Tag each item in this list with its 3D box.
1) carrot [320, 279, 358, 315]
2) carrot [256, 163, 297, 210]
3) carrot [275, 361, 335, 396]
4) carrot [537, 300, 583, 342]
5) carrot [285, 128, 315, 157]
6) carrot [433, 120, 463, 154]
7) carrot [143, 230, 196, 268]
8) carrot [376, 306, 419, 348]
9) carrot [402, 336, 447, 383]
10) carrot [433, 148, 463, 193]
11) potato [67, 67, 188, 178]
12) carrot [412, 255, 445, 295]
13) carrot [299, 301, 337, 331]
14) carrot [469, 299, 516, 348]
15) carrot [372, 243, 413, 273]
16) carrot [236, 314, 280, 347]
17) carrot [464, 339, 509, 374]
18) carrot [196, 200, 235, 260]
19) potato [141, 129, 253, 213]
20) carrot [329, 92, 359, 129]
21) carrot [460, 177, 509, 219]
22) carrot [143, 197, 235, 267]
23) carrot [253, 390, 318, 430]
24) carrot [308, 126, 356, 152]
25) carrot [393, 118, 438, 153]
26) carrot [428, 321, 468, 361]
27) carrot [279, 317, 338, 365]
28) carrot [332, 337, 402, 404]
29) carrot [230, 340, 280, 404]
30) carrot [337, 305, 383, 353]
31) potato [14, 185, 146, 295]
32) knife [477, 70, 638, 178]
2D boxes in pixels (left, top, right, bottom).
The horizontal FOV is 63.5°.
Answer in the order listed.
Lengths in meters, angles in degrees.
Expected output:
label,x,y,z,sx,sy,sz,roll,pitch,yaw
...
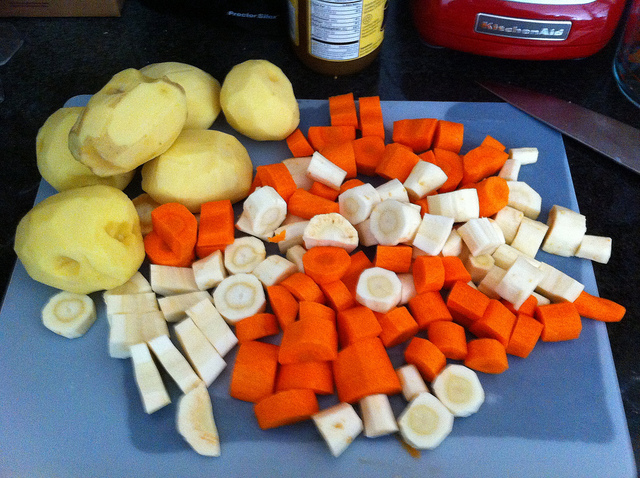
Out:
label,x,y,z,sx,sy,sz,roll,pitch,yaw
carrot,0.047,0.160,1.392,0.082,0.030,0.084,6,80,23
carrot,-0.127,-0.146,1.490,0.066,0.087,0.123,-27,74,-19
carrot,-0.035,0.346,1.292,0.150,0.111,0.086,-6,75,5
carrot,0.631,0.216,1.358,0.092,0.103,0.099,-9,34,1
carrot,-0.065,-0.293,1.667,0.065,0.083,0.117,-31,92,-4
carrot,0.426,-0.333,1.651,0.086,0.120,0.119,7,104,25
carrot,-0.434,0.036,1.494,0.108,0.068,0.111,1,54,-5
carrot,0.200,0.232,1.351,0.092,0.086,0.048,-13,53,-17
carrot,0.269,0.311,1.315,0.090,0.087,0.047,37,65,12
carrot,0.425,-0.233,1.632,0.039,0.203,0.115,-8,73,22
potato,-0.501,-0.323,1.446,0.314,0.187,0.235,-39,114,-3
carrot,0.290,0.097,1.383,0.039,0.076,0.076,-4,58,-20
carrot,-0.011,0.188,1.351,0.122,0.111,0.070,12,87,0
carrot,0.457,0.219,1.392,0.112,0.110,0.112,22,69,34
carrot,0.203,0.052,1.468,0.123,0.087,0.069,2,30,-2
carrot,-0.173,0.255,1.399,0.118,0.119,0.067,-17,66,-8
carrot,0.419,0.296,1.344,0.123,0.066,0.091,7,86,-20
carrot,-0.297,-0.030,1.503,0.117,0.105,0.170,-7,45,-4
potato,-0.361,-0.178,1.561,0.277,0.168,0.225,-20,64,-20
carrot,0.074,-0.400,1.656,0.098,0.030,0.099,-9,84,0
carrot,0.470,-0.110,1.471,0.095,0.088,0.053,-13,32,-15
carrot,-0.369,-0.014,1.463,0.265,0.151,0.142,-17,66,-7
carrot,-0.084,0.412,1.265,0.152,0.048,0.071,-11,66,-4
carrot,0.036,-0.315,1.624,0.131,0.032,0.082,-5,77,8
carrot,0.290,-0.328,1.604,0.151,0.113,0.087,0,51,3
carrot,0.327,0.247,1.369,0.081,0.083,0.063,3,90,-9
carrot,-0.023,0.261,1.315,0.155,0.101,0.083,-3,41,10
carrot,0.116,0.336,1.372,0.154,0.160,0.157,-27,59,1
carrot,-0.165,0.354,1.376,0.122,0.166,0.172,9,32,4
carrot,0.094,0.230,1.355,0.084,0.088,0.070,3,66,-25
potato,-0.662,0.030,1.459,0.377,0.292,0.297,3,87,-23
knife,0.780,-0.362,1.688,0.747,0.051,0.132,27,76,15
